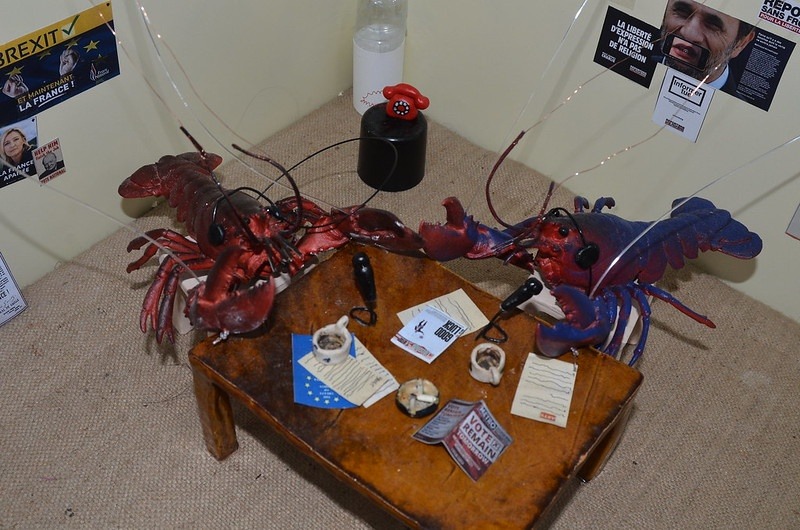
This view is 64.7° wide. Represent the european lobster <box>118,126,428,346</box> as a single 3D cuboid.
[{"bbox_3d":[-0.697,-0.171,2.850,1.021,0.661,1.264,-26,53,-32],"label":"european lobster"}]

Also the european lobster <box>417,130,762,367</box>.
[{"bbox_3d":[0.909,-0.105,2.907,1.616,0.565,1.072,-11,44,-1],"label":"european lobster"}]

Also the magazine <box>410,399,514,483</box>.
[{"bbox_3d":[0.241,0.632,2.346,0.279,0.070,0.279,-38,69,-25],"label":"magazine"}]

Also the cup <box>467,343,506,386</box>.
[{"bbox_3d":[0.353,0.407,2.522,0.129,0.087,0.175,-13,46,-13],"label":"cup"}]
